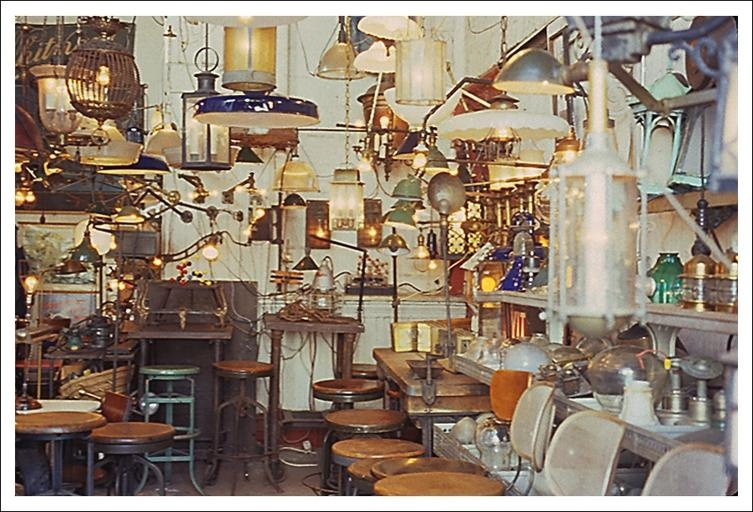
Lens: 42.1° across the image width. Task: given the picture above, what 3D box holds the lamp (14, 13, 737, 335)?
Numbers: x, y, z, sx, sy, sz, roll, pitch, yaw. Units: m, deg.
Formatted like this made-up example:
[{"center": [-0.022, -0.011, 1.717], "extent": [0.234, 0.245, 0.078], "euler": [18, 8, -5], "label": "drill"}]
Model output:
[{"center": [0.352, -0.466, 4.548], "extent": [1.675, 1.491, 2.179], "euler": [0, 1, -30], "label": "lamp"}]

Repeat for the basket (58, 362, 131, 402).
[{"center": [-2.401, 1.105, 8.537], "extent": [0.547, 0.140, 0.420], "euler": [-6, 10, -39], "label": "basket"}]
